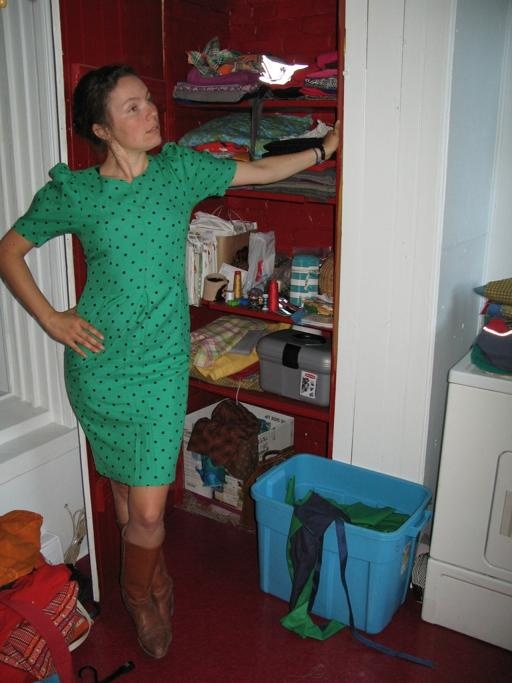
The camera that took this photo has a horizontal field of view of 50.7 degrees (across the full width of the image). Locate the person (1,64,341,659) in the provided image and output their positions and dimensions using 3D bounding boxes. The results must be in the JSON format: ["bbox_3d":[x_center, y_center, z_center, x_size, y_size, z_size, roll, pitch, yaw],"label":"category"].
[{"bbox_3d":[-0.327,0.108,1.685,0.799,1.737,0.333,-2,11,-2],"label":"person"}]

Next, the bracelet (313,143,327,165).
[{"bbox_3d":[0.210,-0.609,1.763,0.029,0.072,0.043,5,7,7],"label":"bracelet"}]
